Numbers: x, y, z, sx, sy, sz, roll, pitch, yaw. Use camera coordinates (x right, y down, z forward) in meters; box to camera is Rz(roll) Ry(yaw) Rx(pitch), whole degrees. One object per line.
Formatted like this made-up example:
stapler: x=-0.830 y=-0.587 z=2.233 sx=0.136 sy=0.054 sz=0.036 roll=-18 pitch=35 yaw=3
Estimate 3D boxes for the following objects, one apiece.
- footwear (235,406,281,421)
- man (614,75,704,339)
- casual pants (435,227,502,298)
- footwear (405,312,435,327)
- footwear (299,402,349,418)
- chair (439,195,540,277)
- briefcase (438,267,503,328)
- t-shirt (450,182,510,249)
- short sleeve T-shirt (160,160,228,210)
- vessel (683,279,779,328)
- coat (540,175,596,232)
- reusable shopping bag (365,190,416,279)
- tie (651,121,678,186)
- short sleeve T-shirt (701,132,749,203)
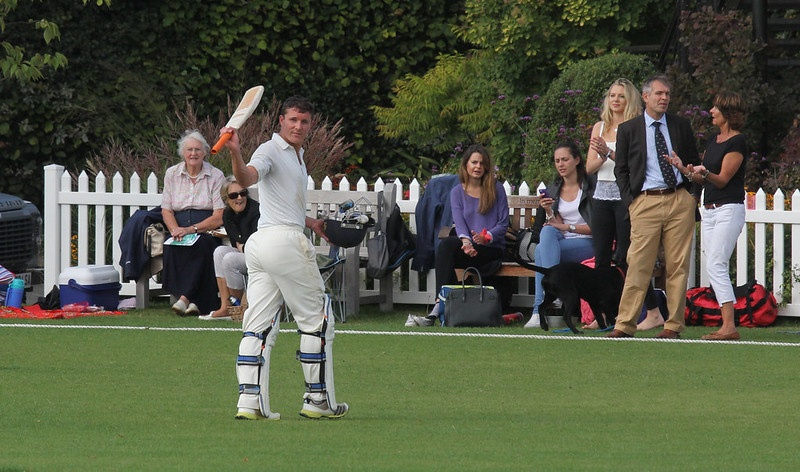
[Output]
footwear: x=-1.558 y=1.930 z=16.011 sx=0.523 sy=0.189 sz=0.159 roll=0 pitch=1 yaw=-13
man: x=3.154 y=-0.322 z=18.307 sx=1.054 sy=3.199 sz=0.531 roll=-1 pitch=-5 yaw=8
casual pants: x=0.900 y=0.344 z=19.903 sx=0.839 sy=0.904 sz=0.800 roll=4 pitch=-1 yaw=-33
footwear: x=0.261 y=1.131 z=19.452 sx=0.417 sy=0.141 sz=0.141 roll=4 pitch=-1 yaw=-14
footwear: x=-0.823 y=1.918 z=16.034 sx=0.490 sy=0.203 sz=0.178 roll=-1 pitch=3 yaw=-14
chair: x=1.149 y=0.053 z=19.844 sx=1.259 sy=0.732 sz=0.489 roll=0 pitch=-3 yaw=17
briefcase: x=0.892 y=0.830 z=19.439 sx=0.907 sy=0.720 sz=0.388 roll=3 pitch=8 yaw=-32
t-shirt: x=1.055 y=-0.259 z=19.874 sx=0.766 sy=0.860 sz=0.515 roll=-1 pitch=-2 yaw=-2
short sleeve T-shirt: x=-2.825 y=-0.670 z=20.431 sx=0.997 sy=0.695 sz=0.486 roll=3 pitch=15 yaw=10
vessel: x=4.341 y=0.920 z=19.583 sx=1.021 sy=0.374 sz=0.641 roll=-3 pitch=13 yaw=5
coat: x=2.249 y=-0.392 z=19.605 sx=0.816 sy=0.591 sz=0.456 roll=2 pitch=-4 yaw=23
reusable shopping bag: x=-0.081 y=-0.044 z=20.460 sx=0.611 sy=1.068 sz=1.008 roll=9 pitch=26 yaw=20
tie: x=3.219 y=-0.991 z=18.181 sx=0.230 sy=0.840 sz=0.046 roll=-12 pitch=-17 yaw=11
short sleeve T-shirt: x=4.056 y=-0.806 z=18.548 sx=0.532 sy=0.875 sz=0.369 roll=-1 pitch=-4 yaw=7
